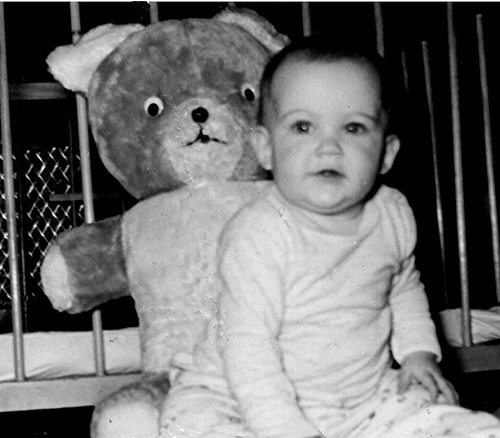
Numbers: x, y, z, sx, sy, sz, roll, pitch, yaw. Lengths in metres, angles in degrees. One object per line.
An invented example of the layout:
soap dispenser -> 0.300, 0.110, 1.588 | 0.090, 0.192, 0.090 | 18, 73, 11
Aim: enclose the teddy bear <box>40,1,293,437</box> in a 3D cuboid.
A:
teddy bear -> -0.236, -0.062, 1.998 | 0.580, 0.865, 0.349 | -1, 10, 1
